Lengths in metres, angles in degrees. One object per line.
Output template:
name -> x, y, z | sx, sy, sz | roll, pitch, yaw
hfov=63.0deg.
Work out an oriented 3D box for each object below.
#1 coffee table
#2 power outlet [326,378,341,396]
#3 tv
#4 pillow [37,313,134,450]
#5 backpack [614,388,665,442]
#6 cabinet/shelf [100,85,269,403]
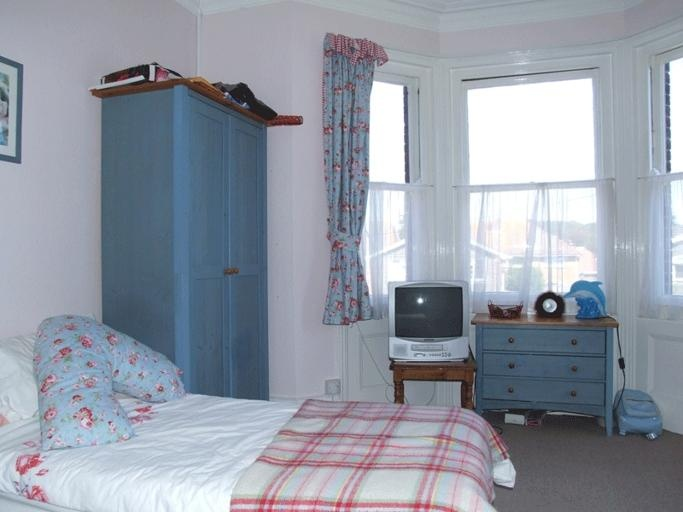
coffee table -> 0.718, 0.891, 4.422 | 0.563, 0.555, 0.406 | -1, -8, 4
power outlet -> -0.072, 1.056, 4.501 | 0.137, 0.133, 0.048 | 2, -5, -40
tv -> 0.701, 0.518, 4.595 | 0.657, 0.657, 0.387 | -1, 5, 2
pillow -> -1.404, 0.643, 2.958 | 0.421, 0.249, 0.881 | 0, 34, -33
backpack -> 2.372, 1.261, 4.445 | 0.340, 0.373, 0.286 | -3, -6, 20
cabinet/shelf -> -1.069, 0.103, 3.989 | 0.690, 2.381, 1.093 | -1, -1, 17
